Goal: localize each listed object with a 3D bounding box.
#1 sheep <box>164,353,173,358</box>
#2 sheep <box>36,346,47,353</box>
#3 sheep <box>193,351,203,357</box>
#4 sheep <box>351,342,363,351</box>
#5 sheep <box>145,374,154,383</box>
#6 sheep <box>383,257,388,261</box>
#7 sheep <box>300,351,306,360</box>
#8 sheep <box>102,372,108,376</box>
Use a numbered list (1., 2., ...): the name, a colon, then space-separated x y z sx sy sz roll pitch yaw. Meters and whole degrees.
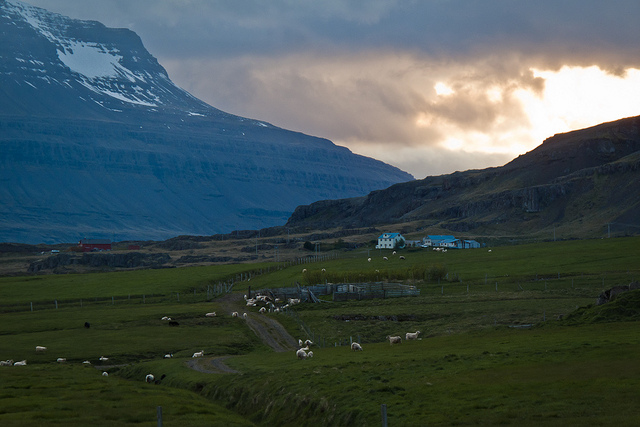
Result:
1. sheep: -31.194 29.383 147.788 1.633 0.506 1.775 3 -3 -9
2. sheep: -58.394 28.491 150.559 2.083 0.935 1.600 4 -3 -22
3. sheep: -24.722 28.651 145.742 2.005 0.821 1.327 4 -4 -26
4. sheep: 6.777 24.672 132.263 1.903 1.316 1.598 2 -3 9
5. sheep: -31.547 30.558 133.093 1.260 1.316 1.689 3 -3 -3
6. sheep: 26.828 18.438 295.230 0.880 1.476 3.383 5 4 39
7. sheep: -3.094 26.089 132.001 1.156 1.423 0.796 5 -4 -27
8. sheep: -39.816 29.812 132.932 0.970 0.533 0.859 -1 0 -6
